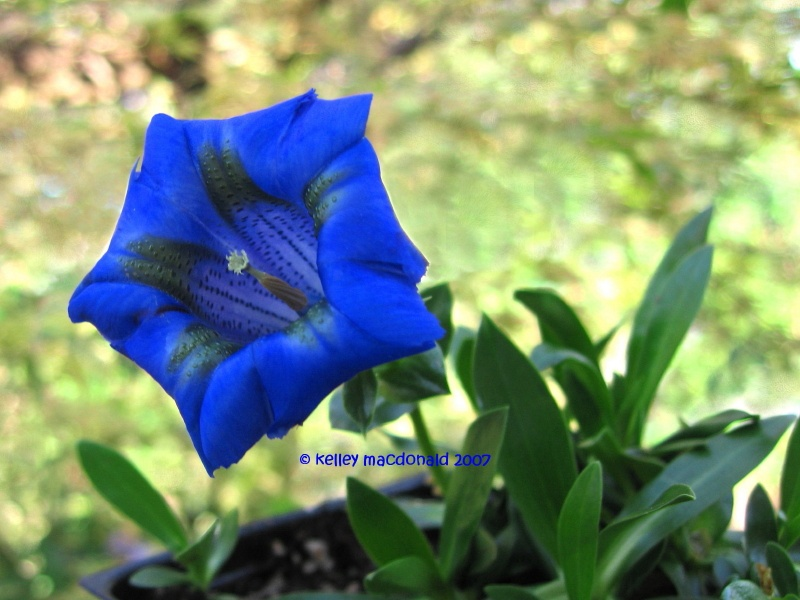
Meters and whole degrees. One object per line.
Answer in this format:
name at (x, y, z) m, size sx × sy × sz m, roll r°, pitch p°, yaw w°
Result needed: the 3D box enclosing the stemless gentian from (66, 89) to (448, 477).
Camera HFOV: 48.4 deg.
stemless gentian at (-0.247, -0.034, 1.368) m, size 0.610 × 0.249 × 0.564 m, roll -32°, pitch -30°, yaw 5°
